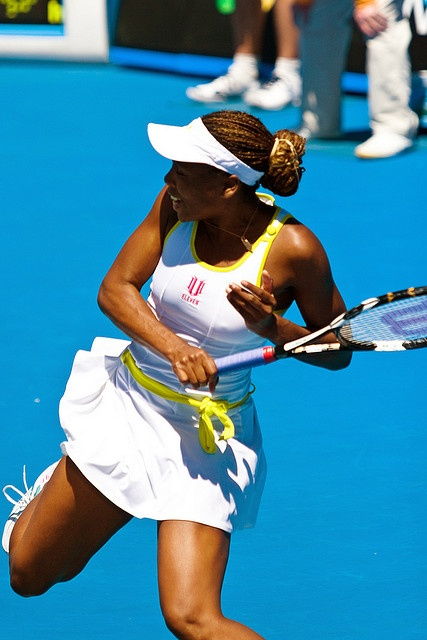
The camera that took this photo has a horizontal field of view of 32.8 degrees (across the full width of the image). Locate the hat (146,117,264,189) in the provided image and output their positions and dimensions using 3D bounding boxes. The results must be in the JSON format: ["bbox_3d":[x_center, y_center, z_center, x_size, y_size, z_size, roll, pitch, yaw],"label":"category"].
[{"bbox_3d":[-0.047,-0.475,2.058,0.376,0.177,0.232,9,27,14],"label":"hat"}]

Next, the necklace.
[{"bbox_3d":[0.068,-0.284,2.145,0.177,0.091,0.113,36,82,24],"label":"necklace"}]
